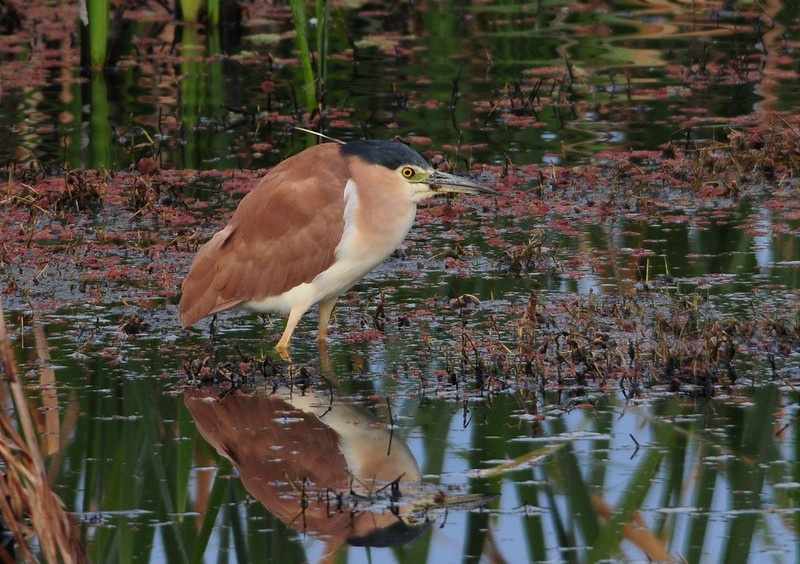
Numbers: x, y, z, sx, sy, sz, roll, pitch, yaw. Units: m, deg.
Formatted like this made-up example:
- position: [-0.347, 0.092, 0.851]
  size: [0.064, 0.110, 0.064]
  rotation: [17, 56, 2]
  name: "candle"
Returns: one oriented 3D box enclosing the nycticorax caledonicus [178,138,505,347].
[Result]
- position: [-0.343, -0.146, 7.730]
  size: [2.259, 1.244, 0.921]
  rotation: [-2, -1, 21]
  name: "nycticorax caledonicus"
